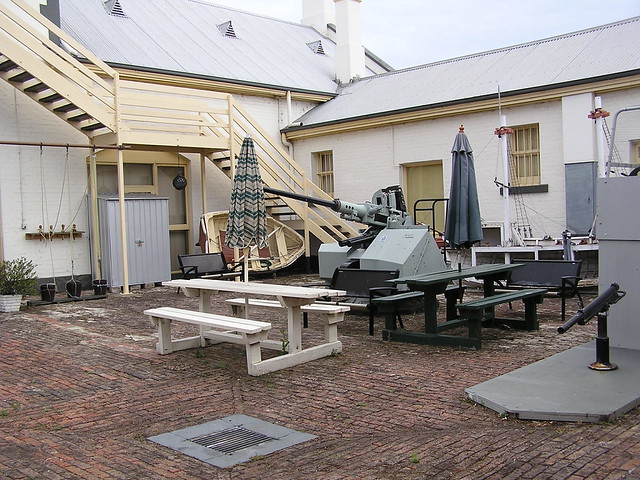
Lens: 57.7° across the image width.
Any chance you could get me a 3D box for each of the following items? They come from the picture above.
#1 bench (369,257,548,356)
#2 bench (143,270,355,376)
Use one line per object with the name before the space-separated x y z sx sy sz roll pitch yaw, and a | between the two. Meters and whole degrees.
bench | 1.745 0.943 7.873 1.317 0.630 1.964 -1 -1 42
bench | -0.691 1.059 7.119 1.905 0.557 1.415 1 2 38
